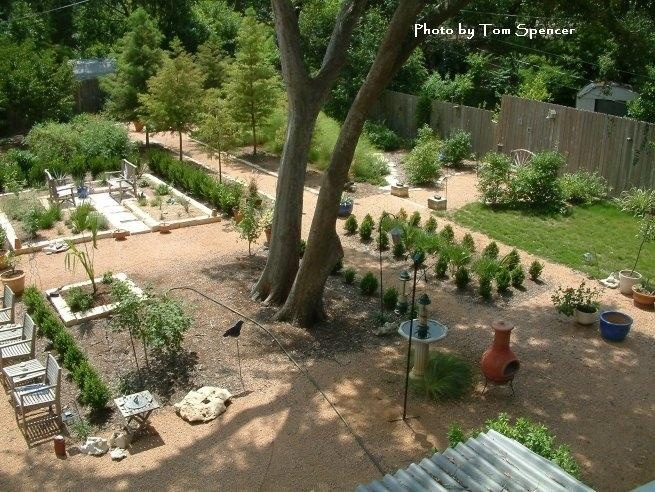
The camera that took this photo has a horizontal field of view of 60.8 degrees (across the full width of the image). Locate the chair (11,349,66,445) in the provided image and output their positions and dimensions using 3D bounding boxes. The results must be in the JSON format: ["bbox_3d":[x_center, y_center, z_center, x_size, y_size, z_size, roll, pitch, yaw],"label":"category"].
[{"bbox_3d":[-4.931,2.623,9.503,0.660,1.214,0.671,-10,38,-41],"label":"chair"}]

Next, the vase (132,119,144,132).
[{"bbox_3d":[-9.309,-5.941,27.661,0.471,0.540,1.577,-3,19,-17],"label":"vase"}]

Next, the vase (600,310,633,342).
[{"bbox_3d":[5.976,1.686,11.636,0.566,0.457,0.579,-4,22,-4],"label":"vase"}]

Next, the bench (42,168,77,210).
[{"bbox_3d":[-8.697,-1.827,18.098,0.582,0.837,1.427,-11,40,-28],"label":"bench"}]

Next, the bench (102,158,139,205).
[{"bbox_3d":[-7.140,-2.181,19.246,0.610,1.207,1.407,-11,30,-32],"label":"bench"}]

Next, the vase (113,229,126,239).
[{"bbox_3d":[-5.871,-0.319,15.847,0.388,0.216,0.331,-1,18,-12],"label":"vase"}]

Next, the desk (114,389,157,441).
[{"bbox_3d":[-3.117,2.780,9.275,0.656,0.731,0.687,-9,29,-25],"label":"desk"}]

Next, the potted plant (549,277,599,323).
[{"bbox_3d":[5.431,1.262,12.256,0.791,0.872,0.924,-28,-11,20],"label":"potted plant"}]

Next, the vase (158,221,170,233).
[{"bbox_3d":[-4.765,-0.550,16.347,0.250,0.302,0.270,2,6,7],"label":"vase"}]
